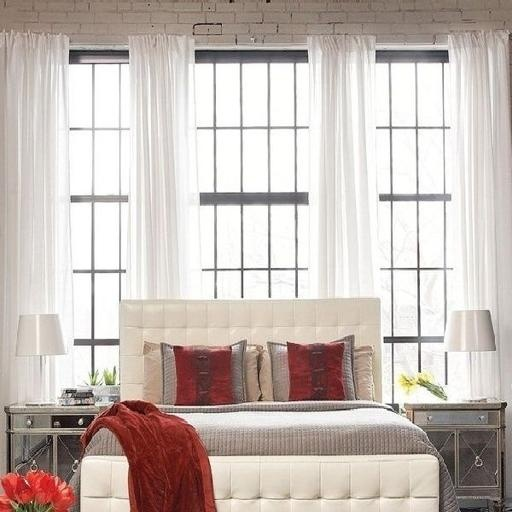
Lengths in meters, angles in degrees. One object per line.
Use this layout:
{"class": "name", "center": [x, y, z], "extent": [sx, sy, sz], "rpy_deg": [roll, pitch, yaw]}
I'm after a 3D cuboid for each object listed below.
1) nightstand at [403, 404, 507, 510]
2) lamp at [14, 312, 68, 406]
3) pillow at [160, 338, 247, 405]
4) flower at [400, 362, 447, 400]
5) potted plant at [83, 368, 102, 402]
{"class": "nightstand", "center": [1.497, 1.394, 6.404], "extent": [0.750, 1.224, 0.672], "rpy_deg": [0, -8, 0]}
{"class": "lamp", "center": [-1.654, 0.786, 6.364], "extent": [0.368, 0.628, 0.428], "rpy_deg": [-2, -1, -21]}
{"class": "pillow", "center": [-0.383, 0.875, 6.011], "extent": [0.408, 0.522, 0.142], "rpy_deg": [0, -17, -9]}
{"class": "flower", "center": [1.334, 1.012, 6.584], "extent": [0.332, 0.214, 0.213], "rpy_deg": [18, 10, 32]}
{"class": "potted plant", "center": [-1.340, 1.069, 6.876], "extent": [0.141, 0.290, 0.174], "rpy_deg": [1, -3, -37]}
